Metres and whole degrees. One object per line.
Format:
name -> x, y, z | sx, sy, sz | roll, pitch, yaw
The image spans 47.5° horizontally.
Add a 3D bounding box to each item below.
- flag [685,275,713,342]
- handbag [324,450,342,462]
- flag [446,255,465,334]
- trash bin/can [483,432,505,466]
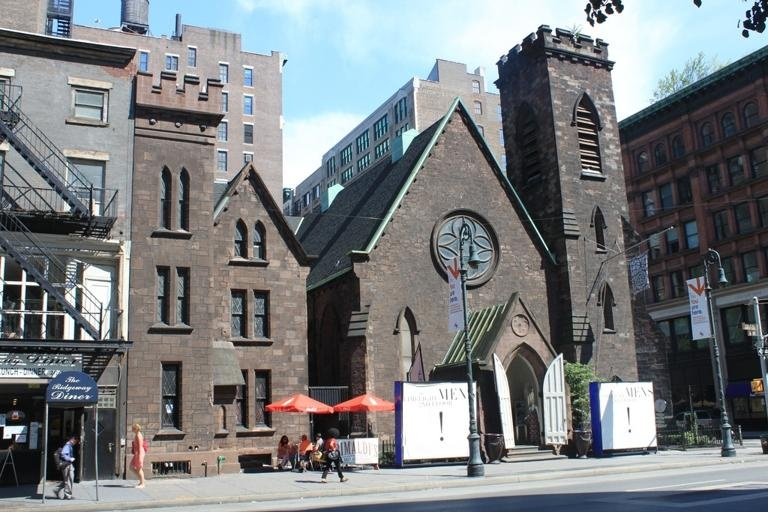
flag -> 18.129, 3.120, 50.322 | 1.197, 3.657, 0.031 | -10, 8, -17
handbag -> -2.450, 9.678, 42.169 | 0.655, 0.540, 0.483 | 1, -16, -11
flag -> 3.703, 2.015, 45.145 | 0.031, 3.829, 1.616 | 0, 2, 40
trash bin/can -> 6.007, 10.705, 48.066 | 1.451, 1.781, 1.385 | 1, -19, -12
